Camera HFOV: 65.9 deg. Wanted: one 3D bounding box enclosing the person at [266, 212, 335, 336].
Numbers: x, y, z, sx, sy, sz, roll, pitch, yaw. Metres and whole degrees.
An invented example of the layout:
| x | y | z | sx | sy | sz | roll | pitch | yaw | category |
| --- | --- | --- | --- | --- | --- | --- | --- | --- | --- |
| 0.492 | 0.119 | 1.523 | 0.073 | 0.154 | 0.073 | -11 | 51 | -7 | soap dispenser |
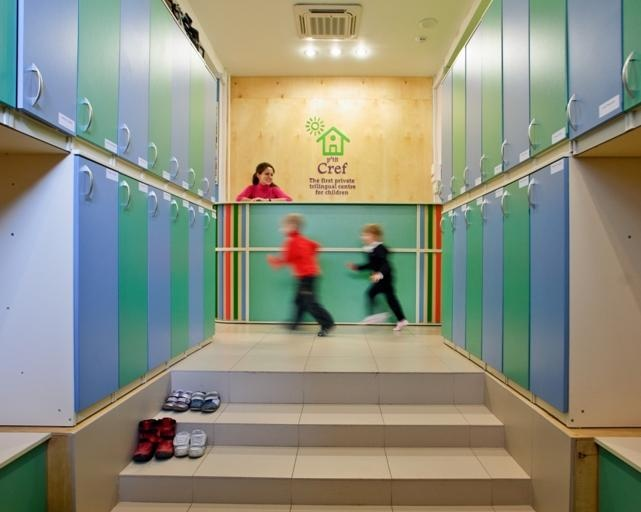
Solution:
| x | y | z | sx | sy | sz | roll | pitch | yaw | category |
| --- | --- | --- | --- | --- | --- | --- | --- | --- | --- |
| -0.203 | 0.182 | 5.140 | 0.625 | 1.282 | 0.693 | -3 | -2 | 1 | person |

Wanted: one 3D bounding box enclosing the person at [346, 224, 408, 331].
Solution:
| x | y | z | sx | sy | sz | roll | pitch | yaw | category |
| --- | --- | --- | --- | --- | --- | --- | --- | --- | --- |
| 0.618 | 0.227 | 5.353 | 0.570 | 1.170 | 0.584 | -3 | -2 | 8 | person |
